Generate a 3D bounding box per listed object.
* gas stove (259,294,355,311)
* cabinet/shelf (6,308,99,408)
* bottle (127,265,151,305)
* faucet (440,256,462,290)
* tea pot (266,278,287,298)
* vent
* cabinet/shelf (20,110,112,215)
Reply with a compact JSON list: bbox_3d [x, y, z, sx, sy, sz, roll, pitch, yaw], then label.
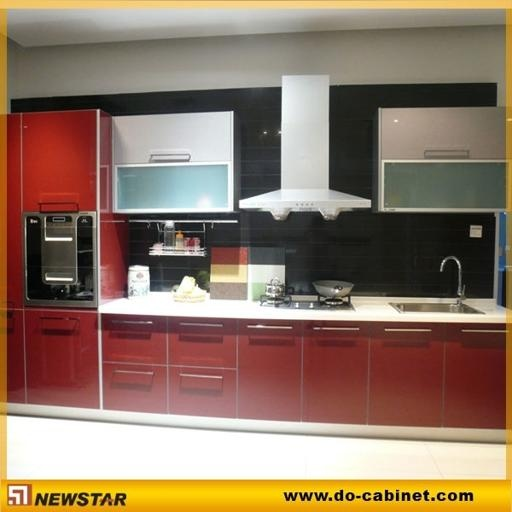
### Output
[{"bbox_3d":[0.343,0.314,3.717,0.635,0.116,0.450,0,-7,1],"label":"gas stove"},{"bbox_3d":[-1.310,0.661,3.820,0.584,0.936,0.594,-1,-5,7],"label":"cabinet/shelf"},{"bbox_3d":[-0.844,0.187,3.840,0.192,0.344,0.193,0,-1,0],"label":"bottle"},{"bbox_3d":[1.345,0.110,3.713,0.155,0.269,0.357,-2,-7,21],"label":"faucet"},{"bbox_3d":[0.148,0.222,3.750,0.111,0.135,0.117,1,-5,0],"label":"tea pot"},{"bbox_3d":[0.318,-0.731,3.888,0.790,1.064,0.857,0,5,2],"label":"vent"},{"bbox_3d":[-1.311,-0.690,3.816,0.430,0.846,0.592,4,5,-28],"label":"cabinet/shelf"}]
